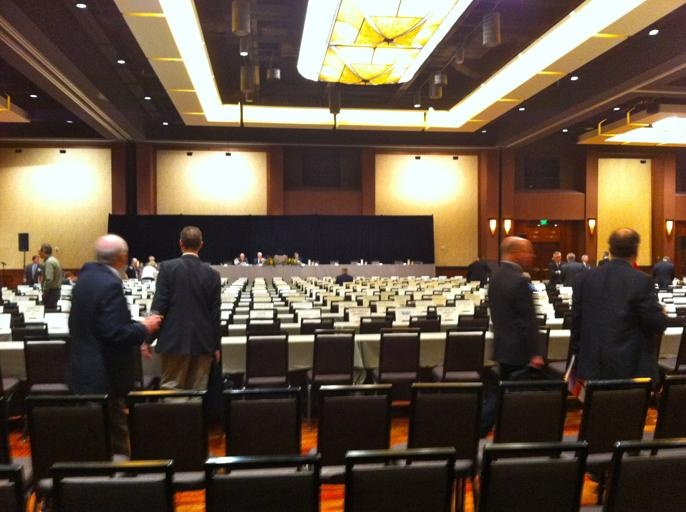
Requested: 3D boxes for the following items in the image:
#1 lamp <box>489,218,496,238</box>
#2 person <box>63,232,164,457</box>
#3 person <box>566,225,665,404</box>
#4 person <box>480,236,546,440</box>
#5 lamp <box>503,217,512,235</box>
[{"bbox_3d":[5.675,-1.086,22.579,0.347,0.659,0.109,0,1,-28],"label":"lamp"},{"bbox_3d":[-1.885,0.740,4.920,0.679,1.826,0.574,0,1,-26],"label":"person"},{"bbox_3d":[2.328,0.423,5.056,0.732,0.899,0.286,1,1,22],"label":"person"},{"bbox_3d":[1.557,0.490,5.421,0.510,1.320,0.271,1,1,24],"label":"person"},{"bbox_3d":[6.276,-1.112,22.673,0.253,0.610,0.416,2,1,43],"label":"lamp"}]
